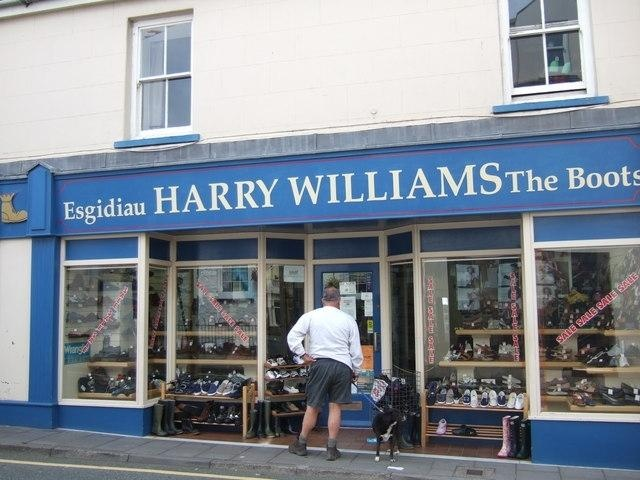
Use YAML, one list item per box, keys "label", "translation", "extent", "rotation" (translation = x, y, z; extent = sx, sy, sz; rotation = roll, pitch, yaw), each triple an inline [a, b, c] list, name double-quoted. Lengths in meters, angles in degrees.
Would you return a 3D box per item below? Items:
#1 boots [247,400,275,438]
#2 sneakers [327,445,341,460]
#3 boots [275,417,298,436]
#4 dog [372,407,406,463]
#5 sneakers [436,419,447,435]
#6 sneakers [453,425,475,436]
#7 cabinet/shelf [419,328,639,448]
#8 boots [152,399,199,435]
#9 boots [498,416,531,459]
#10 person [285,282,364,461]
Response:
- label: "boots"
  translation: [-1.066, 2.861, 10.009]
  extent: [0.485, 0.594, 0.502]
  rotation: [3, -12, -9]
- label: "sneakers"
  translation: [0.165, 2.968, 8.658]
  extent: [0.100, 0.104, 0.242]
  rotation: [-1, -5, 11]
- label: "boots"
  translation: [-0.523, 2.989, 10.013]
  extent: [0.521, 0.361, 0.173]
  rotation: [-2, 0, -3]
- label: "dog"
  translation: [0.968, 2.727, 8.941]
  extent: [0.406, 0.861, 0.846]
  rotation: [0, 9, 7]
- label: "sneakers"
  translation: [1.841, 2.833, 9.502]
  extent: [0.165, 0.180, 0.205]
  rotation: [0, 9, 9]
- label: "sneakers"
  translation: [2.173, 2.864, 9.376]
  extent: [0.265, 0.104, 0.152]
  rotation: [3, -6, 4]
- label: "cabinet/shelf"
  translation: [2.488, 2.446, 9.965]
  extent: [2.184, 1.525, 1.210]
  rotation: [-2, -8, 9]
- label: "boots"
  translation: [-2.363, 2.837, 10.066]
  extent: [0.630, 0.576, 0.522]
  rotation: [-4, -10, 15]
- label: "boots"
  translation: [2.760, 2.776, 8.888]
  extent: [0.441, 0.549, 0.398]
  rotation: [2, 10, 18]
- label: "person"
  translation: [0.010, 2.008, 8.896]
  extent: [0.951, 2.001, 0.751]
  rotation: [3, 11, 25]
